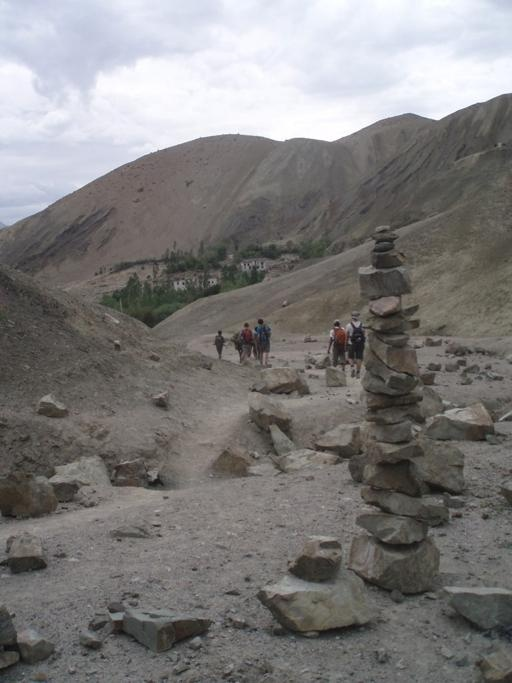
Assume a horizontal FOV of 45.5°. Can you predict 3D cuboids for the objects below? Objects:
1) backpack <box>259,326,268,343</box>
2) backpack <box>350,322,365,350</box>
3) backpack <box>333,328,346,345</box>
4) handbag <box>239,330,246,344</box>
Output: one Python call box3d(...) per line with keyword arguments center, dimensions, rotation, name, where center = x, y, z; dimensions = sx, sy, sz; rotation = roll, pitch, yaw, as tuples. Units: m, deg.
box3d(center=(0.242, -0.255, 20.474), dimensions=(0.260, 0.545, 0.474), rotation=(2, 7, 24), name="backpack")
box3d(center=(2.723, -0.117, 16.521), dimensions=(0.369, 0.765, 0.732), rotation=(0, 7, 9), name="backpack")
box3d(center=(2.353, -0.139, 17.493), dimensions=(0.465, 0.641, 0.368), rotation=(-1, 1, -8), name="backpack")
box3d(center=(-0.470, -0.189, 21.167), dimensions=(0.159, 0.410, 0.305), rotation=(0, -14, 3), name="handbag")
